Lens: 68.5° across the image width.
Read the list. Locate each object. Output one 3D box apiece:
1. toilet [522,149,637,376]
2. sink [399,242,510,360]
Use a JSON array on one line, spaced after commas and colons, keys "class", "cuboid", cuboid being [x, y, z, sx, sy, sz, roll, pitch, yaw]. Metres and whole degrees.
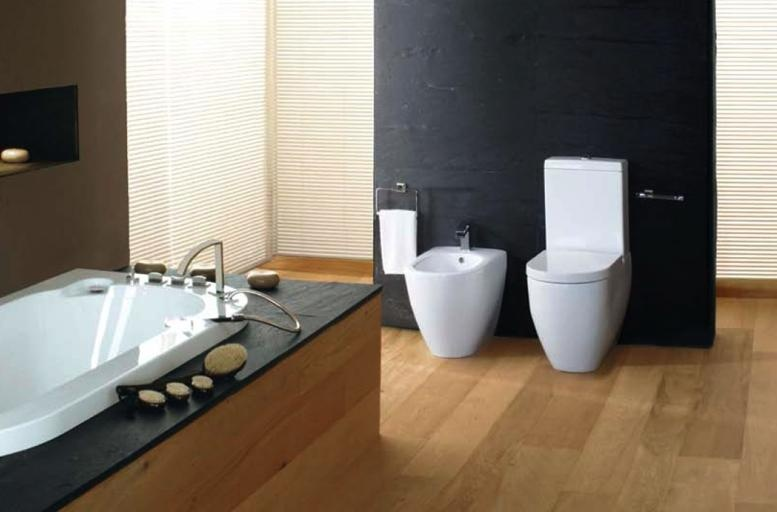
[{"class": "toilet", "cuboid": [1.241, 0.028, 3.676, 0.573, 1.275, 0.757, 2, 18, 25]}, {"class": "sink", "cuboid": [0.504, 0.269, 3.966, 0.614, 0.588, 0.766, 4, 14, 24]}]
